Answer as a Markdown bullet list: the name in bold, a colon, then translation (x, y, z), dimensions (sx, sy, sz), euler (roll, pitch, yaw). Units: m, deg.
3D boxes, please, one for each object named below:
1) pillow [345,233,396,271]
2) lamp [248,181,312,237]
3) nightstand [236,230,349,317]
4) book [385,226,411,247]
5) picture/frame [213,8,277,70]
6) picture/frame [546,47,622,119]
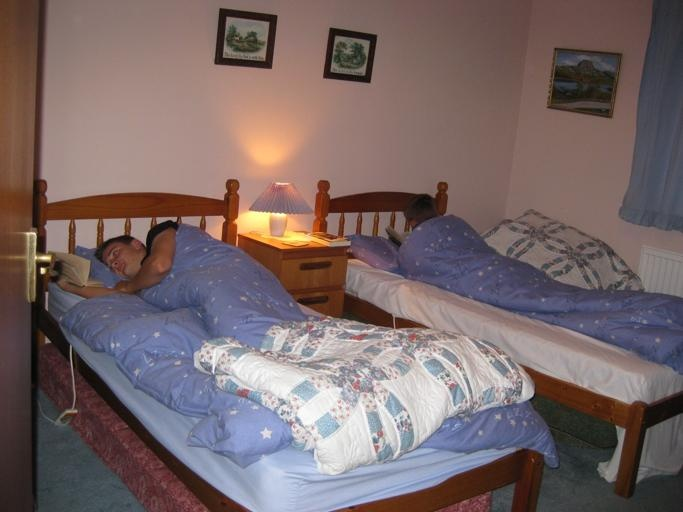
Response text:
- **pillow**: translation (0.251, -0.007, 4.076), dimensions (0.305, 0.096, 0.310), euler (10, 32, -31)
- **lamp**: translation (-0.443, -0.360, 3.736), dimensions (0.399, 0.339, 0.395), euler (1, 9, -8)
- **nightstand**: translation (-0.409, 0.043, 3.923), dimensions (0.667, 0.656, 0.651), euler (-10, 18, -40)
- **book**: translation (0.472, -0.152, 4.253), dimensions (0.185, 0.045, 0.180), euler (20, 9, -36)
- **picture/frame**: translation (-0.686, -1.518, 3.587), dimensions (0.497, 0.430, 0.036), euler (1, 17, -33)
- **picture/frame**: translation (2.177, -1.551, 4.621), dimensions (0.064, 0.541, 0.613), euler (-11, 27, -39)
